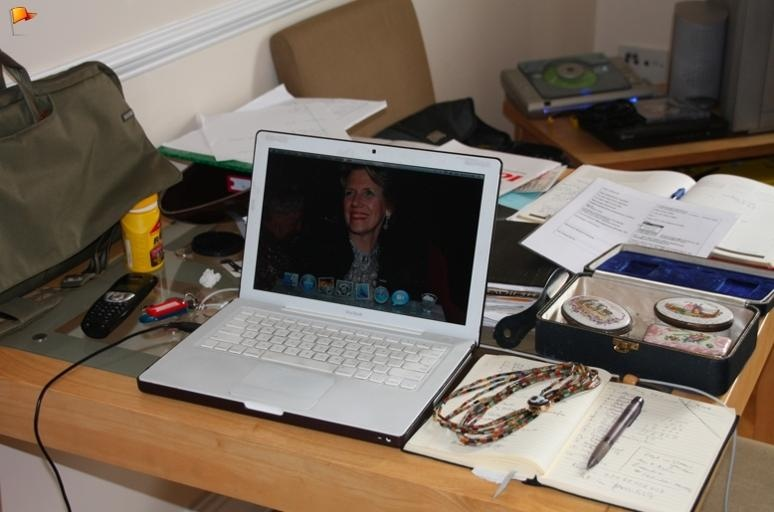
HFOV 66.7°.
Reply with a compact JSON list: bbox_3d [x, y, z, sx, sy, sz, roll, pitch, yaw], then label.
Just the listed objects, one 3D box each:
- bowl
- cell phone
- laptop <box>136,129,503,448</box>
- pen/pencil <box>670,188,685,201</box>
[{"bbox_3d":[-0.416,-0.137,1.365,0.202,0.068,0.132,-12,32,-36],"label":"bowl"},{"bbox_3d":[-0.501,0.090,1.110,0.069,0.032,0.135,12,44,20],"label":"cell phone"},{"bbox_3d":[-0.055,0.022,1.050,0.602,0.376,0.514,12,31,22],"label":"laptop"},{"bbox_3d":[0.695,-0.149,1.408,0.030,0.011,0.056,25,40,29],"label":"pen/pencil"}]
